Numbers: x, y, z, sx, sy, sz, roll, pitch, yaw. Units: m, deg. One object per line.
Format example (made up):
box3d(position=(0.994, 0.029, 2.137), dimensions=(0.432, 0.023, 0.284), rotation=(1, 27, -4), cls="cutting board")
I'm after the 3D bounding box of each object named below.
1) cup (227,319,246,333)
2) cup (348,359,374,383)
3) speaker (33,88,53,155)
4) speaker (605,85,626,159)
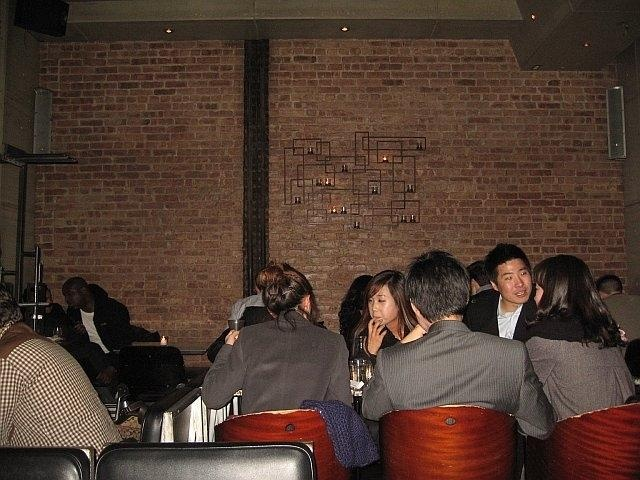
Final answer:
box3d(position=(-0.491, 0.511, 3.852), dimensions=(0.098, 0.072, 0.091), rotation=(1, -10, 0), cls="cup")
box3d(position=(0.274, 0.880, 4.370), dimensions=(0.139, 0.153, 0.148), rotation=(1, -10, 0), cls="cup")
box3d(position=(-3.017, -1.296, 7.096), dimensions=(0.175, 0.705, 0.115), rotation=(1, -5, -22), cls="speaker")
box3d(position=(3.227, -1.278, 7.094), dimensions=(0.179, 0.760, 0.049), rotation=(-4, -6, 29), cls="speaker")
